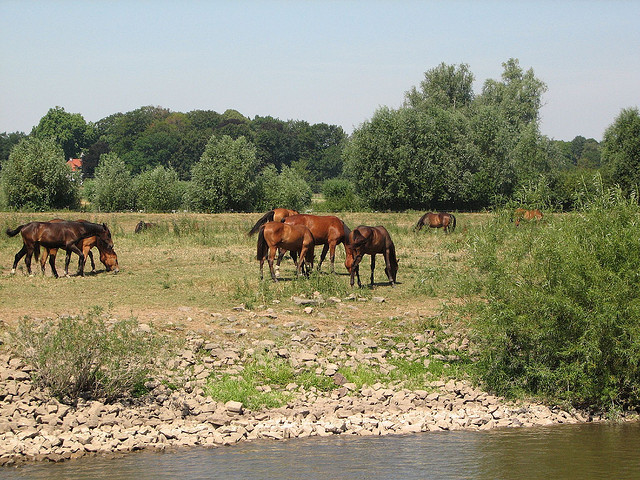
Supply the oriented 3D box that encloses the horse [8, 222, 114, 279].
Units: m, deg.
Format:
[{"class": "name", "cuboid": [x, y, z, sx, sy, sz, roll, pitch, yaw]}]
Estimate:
[{"class": "horse", "cuboid": [-10.910, 0.435, 50.333, 4.091, 1.945, 1.513, -3, 2, -17]}]
